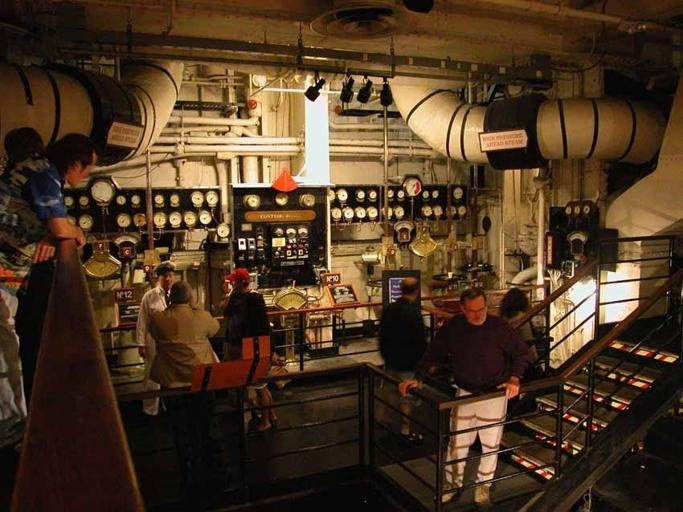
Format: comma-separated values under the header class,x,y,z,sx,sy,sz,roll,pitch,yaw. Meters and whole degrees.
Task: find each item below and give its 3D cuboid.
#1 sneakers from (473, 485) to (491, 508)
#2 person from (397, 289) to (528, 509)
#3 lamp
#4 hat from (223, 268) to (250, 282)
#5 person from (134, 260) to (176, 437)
class,x,y,z,sx,sy,sz,roll,pitch,yaw
sneakers,1.243,2.107,5.548,0.118,0.194,0.200,0,-8,6
person,1.200,1.256,5.681,0.964,1.945,0.920,-1,8,8
lamp,0.202,-2.254,8.471,1.160,0.373,0.162,-3,14,-23
hat,-1.168,0.202,6.852,0.301,0.154,0.200,0,6,15
person,-2.091,0.936,7.362,0.606,1.867,0.430,-6,22,-36
